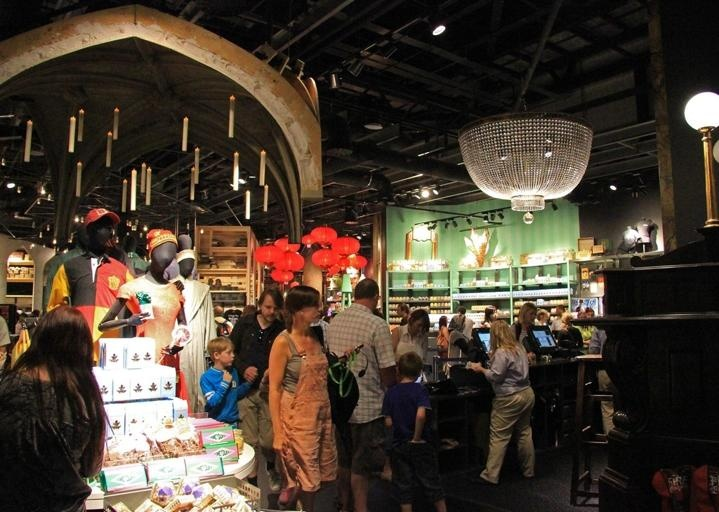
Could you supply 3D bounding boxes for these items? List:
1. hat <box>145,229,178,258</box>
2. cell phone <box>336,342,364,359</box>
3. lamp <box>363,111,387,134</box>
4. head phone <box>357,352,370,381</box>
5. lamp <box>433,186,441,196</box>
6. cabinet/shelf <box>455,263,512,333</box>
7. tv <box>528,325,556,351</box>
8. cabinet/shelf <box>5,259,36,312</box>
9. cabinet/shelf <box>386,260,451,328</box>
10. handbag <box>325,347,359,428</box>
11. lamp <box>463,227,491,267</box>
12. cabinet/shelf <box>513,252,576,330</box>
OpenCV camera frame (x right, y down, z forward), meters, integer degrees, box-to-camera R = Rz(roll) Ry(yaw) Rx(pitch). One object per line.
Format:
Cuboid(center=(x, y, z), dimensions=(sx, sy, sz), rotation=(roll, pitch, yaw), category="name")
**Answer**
Cuboid(center=(-1.649, -0.123, 4.699), dimensions=(0.201, 0.173, 0.287), rotation=(-2, -21, -39), category="hat")
Cuboid(center=(-0.105, 0.812, 4.676), dimensions=(0.313, 0.080, 0.086), rotation=(-25, 9, 39), category="cell phone")
Cuboid(center=(0.265, -2.373, 10.224), dimensions=(0.360, 0.325, 0.346), rotation=(14, -31, -18), category="lamp")
Cuboid(center=(0.006, 0.927, 4.725), dimensions=(0.067, 0.175, 0.129), rotation=(2, -25, -15), category="head phone")
Cuboid(center=(1.901, -1.551, 13.874), dimensions=(0.210, 0.211, 0.206), rotation=(1, 17, -18), category="lamp")
Cuboid(center=(2.976, 0.970, 13.305), dimensions=(1.458, 1.306, 0.440), rotation=(-6, -13, 39), category="cabinet/shelf")
Cuboid(center=(2.556, 1.200, 7.960), dimensions=(0.364, 0.325, 0.096), rotation=(11, -37, -28), category="tv")
Cuboid(center=(-11.164, 0.943, 18.617), dimensions=(0.787, 1.562, 0.721), rotation=(2, -4, -31), category="cabinet/shelf")
Cuboid(center=(1.465, 0.949, 14.348), dimensions=(1.840, 1.709, 0.578), rotation=(0, -4, -3), category="cabinet/shelf")
Cuboid(center=(-0.158, 1.075, 4.526), dimensions=(0.182, 0.467, 0.476), rotation=(5, 25, -18), category="handbag")
Cuboid(center=(3.209, -0.217, 15.490), dimensions=(0.552, 0.862, 0.924), rotation=(-10, 12, -26), category="lamp")
Cuboid(center=(4.124, 0.774, 12.410), dimensions=(0.523, 1.738, 1.514), rotation=(15, -16, -37), category="cabinet/shelf")
